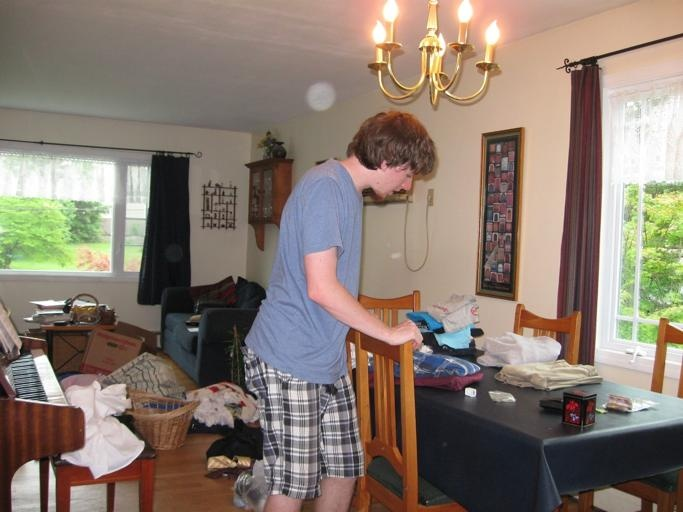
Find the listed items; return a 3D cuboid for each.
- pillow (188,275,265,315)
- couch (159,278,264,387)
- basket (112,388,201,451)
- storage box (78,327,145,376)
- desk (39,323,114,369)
[{"bbox_3d":[-1.287,0.447,6.030,0.656,0.251,0.662,-13,9,41],"label":"pillow"},{"bbox_3d":[-1.246,0.770,5.307,0.890,1.008,1.582,1,2,-26],"label":"couch"},{"bbox_3d":[-1.244,1.127,3.551,0.576,0.417,0.456,-2,3,-5],"label":"basket"},{"bbox_3d":[-2.049,0.851,4.605,0.399,0.311,0.411,10,-1,1],"label":"storage box"},{"bbox_3d":[-2.350,0.788,4.606,0.442,0.449,0.447,-1,11,-21],"label":"desk"}]
